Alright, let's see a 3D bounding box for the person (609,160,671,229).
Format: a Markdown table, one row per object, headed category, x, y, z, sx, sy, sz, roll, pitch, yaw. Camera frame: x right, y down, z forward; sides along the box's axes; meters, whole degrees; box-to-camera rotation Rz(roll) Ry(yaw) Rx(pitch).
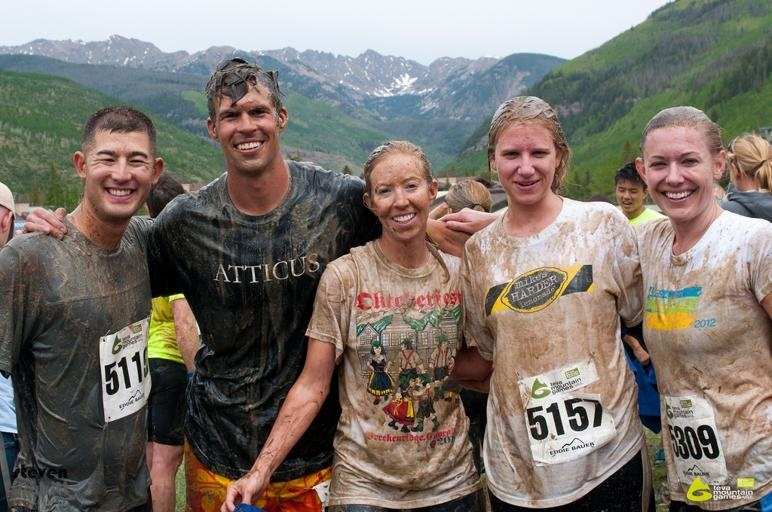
| category | x | y | z | sx | sy | sz | roll | pitch | yaw |
| --- | --- | --- | --- | --- | --- | --- | --- | --- | --- |
| person | 3.627 | -0.900 | 9.867 | 0.652 | 0.875 | 0.890 | -10 | 13 | -35 |
